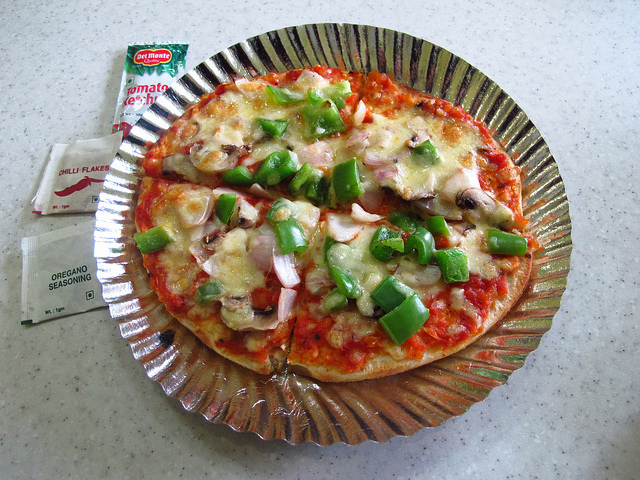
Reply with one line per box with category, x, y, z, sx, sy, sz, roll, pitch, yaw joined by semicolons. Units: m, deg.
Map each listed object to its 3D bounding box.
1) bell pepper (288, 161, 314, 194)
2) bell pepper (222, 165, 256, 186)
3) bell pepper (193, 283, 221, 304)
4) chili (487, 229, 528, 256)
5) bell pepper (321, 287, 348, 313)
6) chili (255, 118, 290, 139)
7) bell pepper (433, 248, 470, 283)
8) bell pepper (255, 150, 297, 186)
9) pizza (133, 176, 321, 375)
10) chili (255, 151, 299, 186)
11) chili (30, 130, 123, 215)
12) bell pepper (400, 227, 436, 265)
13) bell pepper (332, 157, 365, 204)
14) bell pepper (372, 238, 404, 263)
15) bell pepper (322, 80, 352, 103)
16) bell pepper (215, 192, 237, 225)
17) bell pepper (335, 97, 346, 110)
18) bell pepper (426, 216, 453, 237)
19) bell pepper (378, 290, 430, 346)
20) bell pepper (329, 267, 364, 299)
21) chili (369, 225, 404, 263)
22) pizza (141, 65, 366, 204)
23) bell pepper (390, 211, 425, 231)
bell pepper;-0.102;-0.327;3.128;0.086;0.046;0.165;26;78;39
bell pepper;-0.433;-0.341;3.187;0.142;0.095;0.047;-1;52;2
bell pepper;-0.573;0.267;3.002;0.128;0.035;0.084;-26;85;-2
chili;0.948;0.018;3.017;0.205;0.043;0.111;8;84;1
bell pepper;0.079;0.302;2.950;0.126;0.046;0.109;-40;69;-4
chili;-0.245;-0.615;3.217;0.124;0.049;0.121;-12;39;-32
bell pepper;0.665;0.130;2.962;0.155;0.059;0.180;-11;84;-1
bell pepper;-0.235;-0.379;3.147;0.188;0.056;0.177;-30;76;3
pizza;-0.574;0.175;3.089;0.992;0.287;0.900;11;84;1
chili;-0.227;-0.379;3.148;0.167;0.048;0.194;13;69;11
chili;-1.461;-0.387;3.583;0.571;0.079;0.516;-12;53;2
bell pepper;0.494;0.030;3.022;0.140;0.154;0.130;0;107;12
bell pepper;0.140;-0.309;3.094;0.142;0.068;0.205;-10;84;-1
bell pepper;0.345;0.044;2.979;0.157;0.079;0.102;-38;85;-3
bell pepper;0.107;-0.831;3.305;0.130;0.042;0.121;-29;70;-15
bell pepper;-0.501;-0.165;3.099;0.115;0.047;0.148;18;92;32
bell pepper;0.116;-0.760;3.295;0.048;0.033;0.061;-15;80;7
bell pepper;0.617;-0.068;3.022;0.103;0.085;0.111;8;27;1
bell pepper;0.410;0.383;2.899;0.261;0.159;0.301;-5;30;-19
bell pepper;0.132;0.216;2.922;0.118;0.046;0.175;-33;100;25
chili;0.325;0.020;3.019;0.182;0.070;0.173;33;79;-6
pizza;-0.372;-0.559;3.315;0.944;0.153;0.874;11;68;8
bell pepper;0.451;-0.096;3.082;0.144;0.046;0.093;13;60;8
